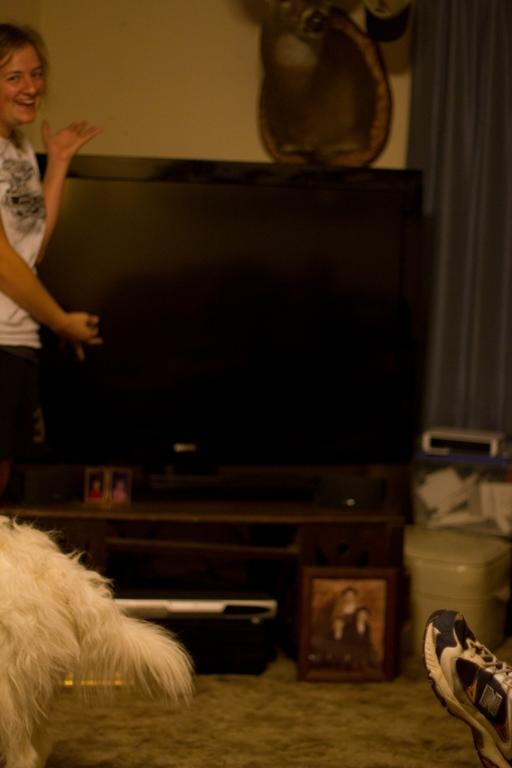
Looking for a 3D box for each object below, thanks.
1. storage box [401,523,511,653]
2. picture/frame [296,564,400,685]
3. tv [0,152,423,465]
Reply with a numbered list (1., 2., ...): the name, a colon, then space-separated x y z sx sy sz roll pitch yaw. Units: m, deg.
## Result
1. storage box: 0.595 0.618 2.089 0.427 0.330 0.238 6 15 23
2. picture/frame: 0.268 0.712 2.055 0.374 0.372 0.067 2 2 2
3. tv: -0.175 -0.247 2.170 1.144 0.713 0.106 0 6 -1
